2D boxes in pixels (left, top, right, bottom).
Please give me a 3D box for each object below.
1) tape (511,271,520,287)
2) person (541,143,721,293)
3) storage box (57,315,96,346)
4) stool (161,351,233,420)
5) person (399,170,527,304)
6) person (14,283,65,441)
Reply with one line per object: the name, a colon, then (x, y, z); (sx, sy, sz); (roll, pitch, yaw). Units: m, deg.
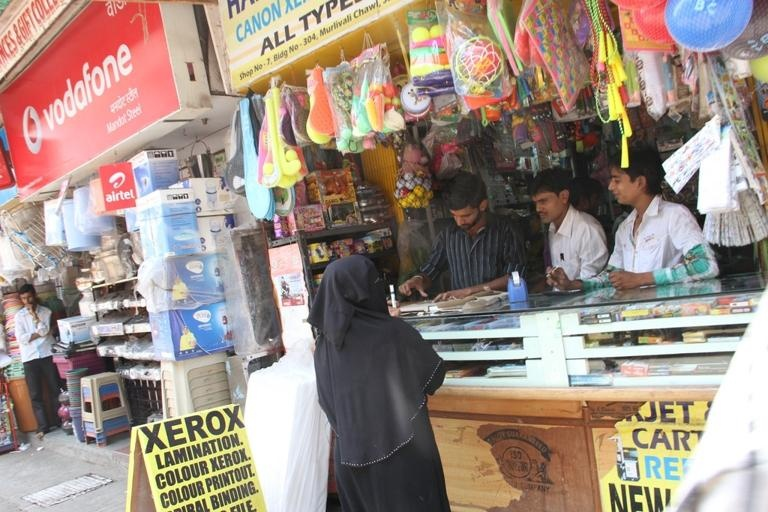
tape: (0.918, 0.156, 3.831); (0.068, 0.095, 0.029); (-3, -1, 3)
person: (1.846, -0.213, 4.072); (0.792, 1.051, 1.221); (-4, -5, -14)
storage box: (-4.452, 1.056, 8.038); (0.517, 0.336, 0.526); (-4, -5, 37)
stool: (-1.905, 1.289, 5.501); (0.675, 0.656, 0.334); (-4, 1, -13)
person: (0.724, -0.027, 4.828); (0.945, 1.340, 0.911); (2, 24, 26)
person: (-5.228, 1.533, 8.263); (0.513, 2.613, 0.466); (-5, 1, -39)
